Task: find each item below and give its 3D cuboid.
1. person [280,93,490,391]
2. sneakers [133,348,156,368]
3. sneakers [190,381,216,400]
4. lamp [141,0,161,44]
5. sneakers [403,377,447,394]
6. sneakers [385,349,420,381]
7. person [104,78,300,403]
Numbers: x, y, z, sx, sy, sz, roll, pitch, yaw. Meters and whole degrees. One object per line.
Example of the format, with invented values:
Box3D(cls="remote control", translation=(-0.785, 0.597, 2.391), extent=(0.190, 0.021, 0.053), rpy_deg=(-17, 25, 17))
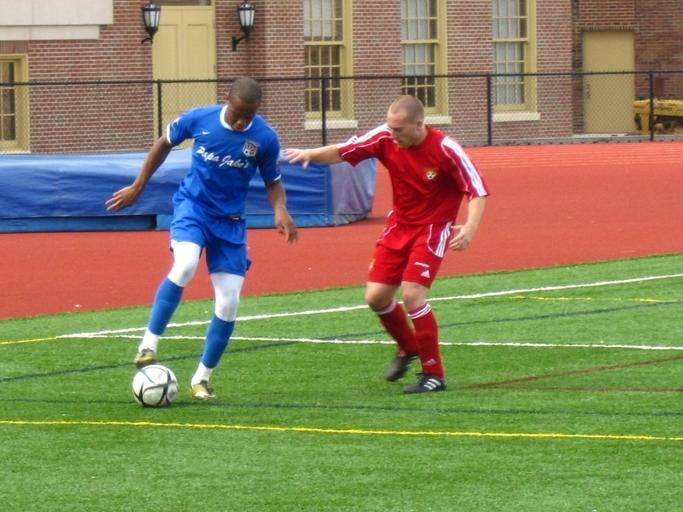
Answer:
Box3D(cls="person", translation=(0.637, -0.169, 15.424), extent=(1.425, 2.749, 0.756), rpy_deg=(13, 20, 40))
Box3D(cls="sneakers", translation=(-1.801, 0.918, 14.923), extent=(0.153, 0.177, 0.168), rpy_deg=(35, 10, 11))
Box3D(cls="sneakers", translation=(-1.298, 1.245, 15.080), extent=(0.186, 0.153, 0.191), rpy_deg=(-4, 4, 28))
Box3D(cls="lamp", translation=(-3.700, -4.549, 31.235), extent=(0.371, 0.852, 0.812), rpy_deg=(-2, 15, -6))
Box3D(cls="sneakers", translation=(0.808, 1.205, 15.307), extent=(0.432, 0.153, 0.143), rpy_deg=(-1, -6, -8))
Box3D(cls="sneakers", translation=(0.581, 1.058, 15.669), extent=(0.152, 0.417, 0.192), rpy_deg=(41, -5, 33))
Box3D(cls="person", translation=(-1.258, -0.215, 15.166), extent=(1.555, 2.945, 1.011), rpy_deg=(-9, 18, -30))
